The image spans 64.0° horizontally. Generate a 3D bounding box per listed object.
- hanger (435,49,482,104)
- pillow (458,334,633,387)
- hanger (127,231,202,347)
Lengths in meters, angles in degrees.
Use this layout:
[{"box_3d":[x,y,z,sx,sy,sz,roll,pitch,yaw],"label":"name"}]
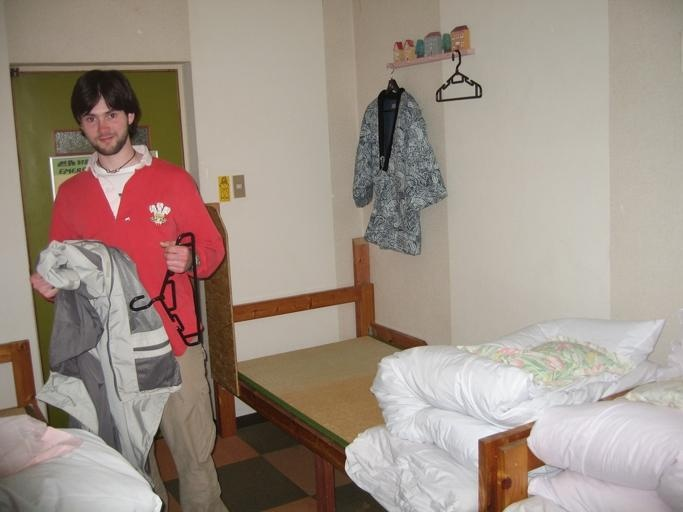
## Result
[{"box_3d":[0.633,-0.996,3.032,0.122,0.274,0.345,-10,13,-26],"label":"hanger"},{"box_3d":[0.787,0.384,1.996,0.281,0.081,0.258,-4,7,-25],"label":"pillow"},{"box_3d":[-0.767,0.144,2.323,0.025,0.633,0.431,5,8,36],"label":"hanger"}]
